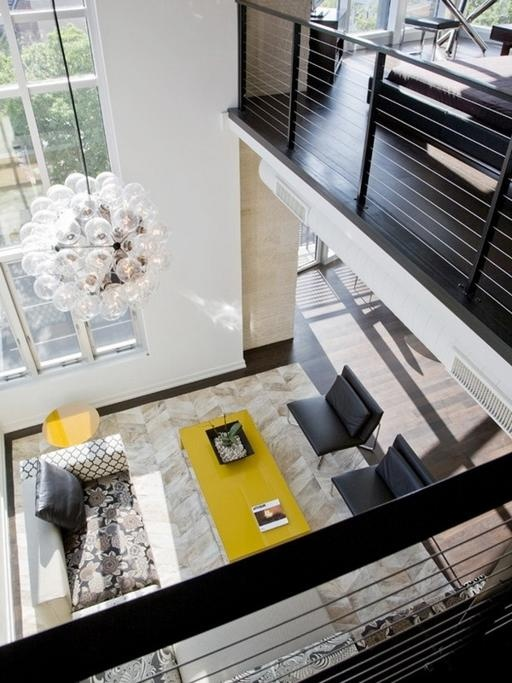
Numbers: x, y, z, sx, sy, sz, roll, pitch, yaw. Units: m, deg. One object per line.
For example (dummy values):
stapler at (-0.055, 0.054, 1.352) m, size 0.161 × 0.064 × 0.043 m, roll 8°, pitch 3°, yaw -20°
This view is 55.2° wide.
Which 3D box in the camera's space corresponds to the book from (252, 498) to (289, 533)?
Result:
book at (0.121, 1.544, 4.379) m, size 0.211 × 0.223 × 0.051 m, roll -10°, pitch -46°, yaw -15°

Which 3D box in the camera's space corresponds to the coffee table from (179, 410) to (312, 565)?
coffee table at (-0.177, 1.264, 4.711) m, size 0.812 × 1.599 × 0.464 m, roll -27°, pitch -36°, yaw -11°

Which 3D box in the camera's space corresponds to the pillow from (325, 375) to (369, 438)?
pillow at (0.950, 0.700, 5.156) m, size 0.117 × 0.578 × 0.346 m, roll 2°, pitch -44°, yaw -39°

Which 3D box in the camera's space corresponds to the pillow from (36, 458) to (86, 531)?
pillow at (-1.729, 1.293, 4.109) m, size 0.166 × 0.530 × 0.574 m, roll -29°, pitch -29°, yaw 18°

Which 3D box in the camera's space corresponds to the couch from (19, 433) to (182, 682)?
couch at (-1.455, 1.503, 4.148) m, size 1.015 × 1.599 × 0.563 m, roll -16°, pitch -40°, yaw -25°
